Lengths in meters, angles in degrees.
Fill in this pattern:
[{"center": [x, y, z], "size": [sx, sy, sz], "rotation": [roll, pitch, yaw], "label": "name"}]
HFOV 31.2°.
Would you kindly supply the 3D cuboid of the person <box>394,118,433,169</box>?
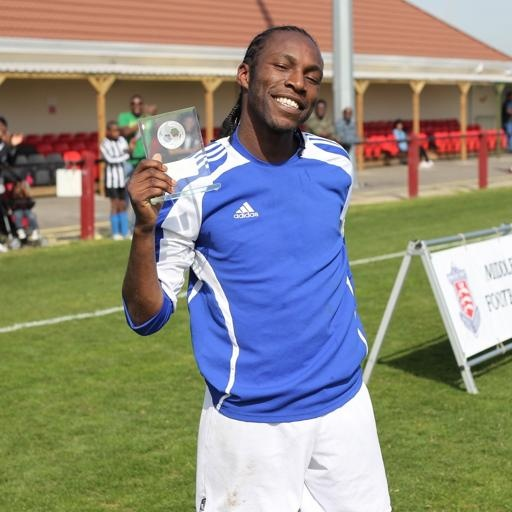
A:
[{"center": [2.405, -1.682, 14.426], "size": [0.425, 0.828, 0.226], "rotation": [-10, 5, -24], "label": "person"}]
